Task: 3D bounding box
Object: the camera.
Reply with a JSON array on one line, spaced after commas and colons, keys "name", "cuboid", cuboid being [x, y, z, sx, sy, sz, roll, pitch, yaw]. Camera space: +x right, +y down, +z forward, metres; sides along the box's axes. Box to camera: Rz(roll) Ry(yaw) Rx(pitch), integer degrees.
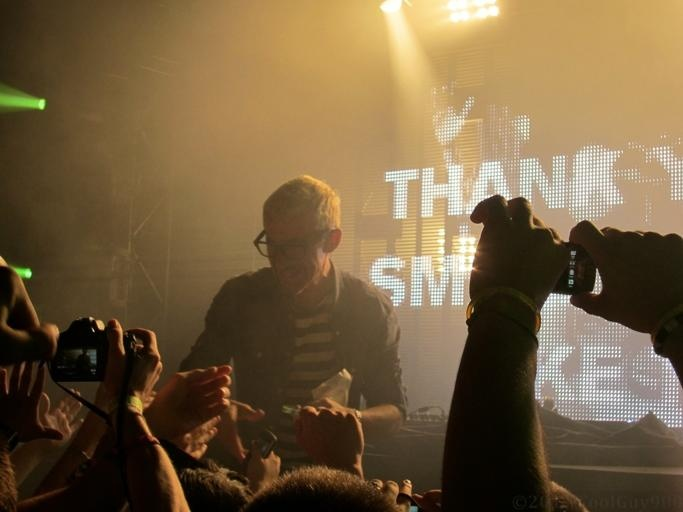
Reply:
[{"name": "camera", "cuboid": [-0.789, 0.275, 1.974, 0.174, 0.173, 0.267, 6, -8, -26]}]
